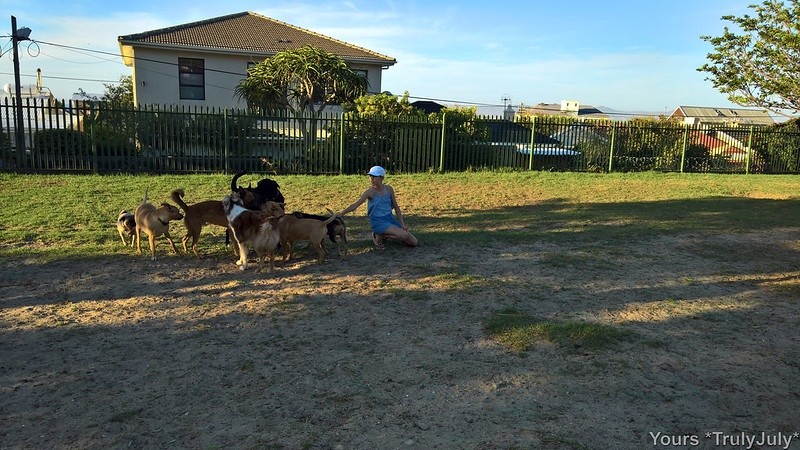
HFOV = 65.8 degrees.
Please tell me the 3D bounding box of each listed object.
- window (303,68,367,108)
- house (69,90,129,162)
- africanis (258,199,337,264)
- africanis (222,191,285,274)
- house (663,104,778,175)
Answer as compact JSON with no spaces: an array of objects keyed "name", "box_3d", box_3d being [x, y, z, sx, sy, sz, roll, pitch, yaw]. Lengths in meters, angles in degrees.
[{"name":"window","box_3d":[-3.037,-6.074,27.132,2.467,1.610,2.383,-10,10,-36]},{"name":"house","box_3d":[-9.936,-3.160,20.642,1.887,2.104,1.211,1,11,19]},{"name":"africanis","box_3d":[-2.224,0.182,12.750,1.650,1.037,0.413,9,-2,-27]},{"name":"africanis","box_3d":[-3.018,0.148,12.591,1.078,1.566,0.481,3,12,29]},{"name":"house","box_3d":[15.445,-4.138,28.450,4.842,2.525,2.370,-14,0,28]}]
